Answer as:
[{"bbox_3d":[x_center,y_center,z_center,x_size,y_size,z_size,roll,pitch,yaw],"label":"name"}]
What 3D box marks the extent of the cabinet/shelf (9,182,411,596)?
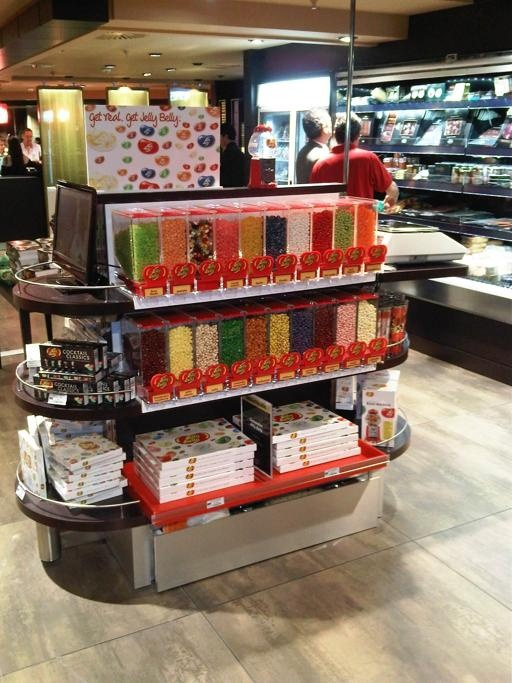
[{"bbox_3d":[-0.158,0.221,2.175,1.621,1.247,0.841,-7,17,-28],"label":"cabinet/shelf"}]
